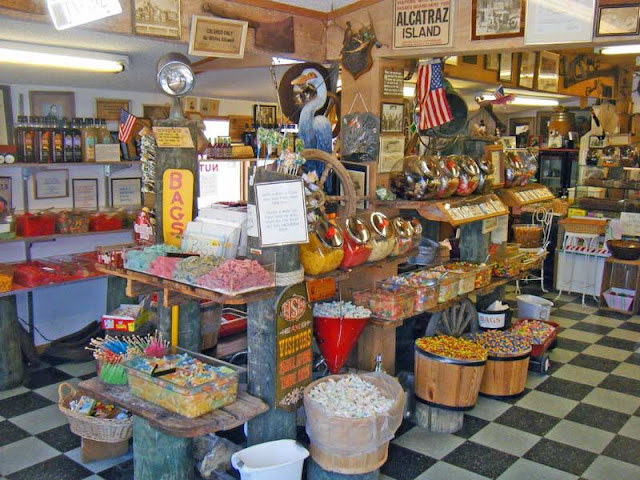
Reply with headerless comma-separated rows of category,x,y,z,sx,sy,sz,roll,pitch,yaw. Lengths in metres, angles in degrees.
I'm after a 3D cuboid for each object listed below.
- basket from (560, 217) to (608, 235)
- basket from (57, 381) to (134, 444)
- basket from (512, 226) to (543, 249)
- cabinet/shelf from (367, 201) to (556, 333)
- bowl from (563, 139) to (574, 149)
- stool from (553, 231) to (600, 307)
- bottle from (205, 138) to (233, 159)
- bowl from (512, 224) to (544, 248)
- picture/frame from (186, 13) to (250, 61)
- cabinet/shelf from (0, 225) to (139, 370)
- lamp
basket,4.043,-0.227,7.705,0.647,0.240,0.448,8,15,29
basket,-1.890,1.484,4.110,0.655,0.348,0.483,17,11,38
basket,2.821,-0.050,6.824,0.351,0.229,0.313,1,6,17
cabinet/shelf,1.441,0.290,5.191,0.501,0.561,1.594,15,23,39
bowl,5.365,-2.087,10.851,0.290,0.207,0.159,8,19,30
stool,4.047,0.400,7.820,0.688,0.975,0.244,9,15,36
bottle,-1.267,-1.147,6.303,0.104,0.294,0.313,3,7,30
bowl,2.830,-0.079,6.838,0.394,0.259,0.339,1,7,17
picture/frame,-0.837,-1.697,4.132,0.611,0.374,0.049,-11,18,-43
cabinet/shelf,-3.017,0.606,5.832,1.351,0.704,2.155,12,17,34
lamp,-1.087,-1.147,3.797,0.252,0.521,0.188,-4,13,-17
